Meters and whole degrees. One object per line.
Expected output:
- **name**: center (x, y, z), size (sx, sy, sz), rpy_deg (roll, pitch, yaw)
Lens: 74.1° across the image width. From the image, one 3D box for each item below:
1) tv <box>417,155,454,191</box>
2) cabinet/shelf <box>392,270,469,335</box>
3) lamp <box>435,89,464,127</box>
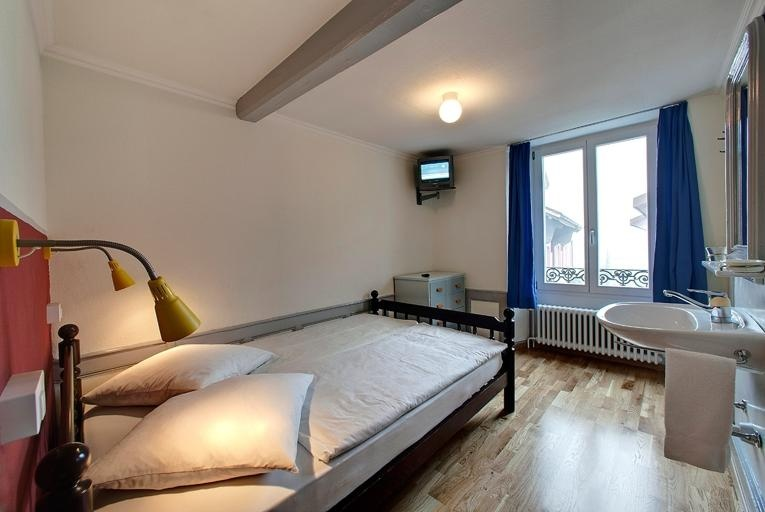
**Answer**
- **tv**: center (0.644, -0.959, 6.055), size (0.606, 0.541, 0.339), rpy_deg (1, 8, 14)
- **cabinet/shelf**: center (0.574, 0.563, 5.876), size (0.498, 0.707, 0.737), rpy_deg (4, 7, 42)
- **lamp**: center (0.597, -1.310, 4.474), size (0.211, 0.256, 0.220), rpy_deg (5, 14, 32)
